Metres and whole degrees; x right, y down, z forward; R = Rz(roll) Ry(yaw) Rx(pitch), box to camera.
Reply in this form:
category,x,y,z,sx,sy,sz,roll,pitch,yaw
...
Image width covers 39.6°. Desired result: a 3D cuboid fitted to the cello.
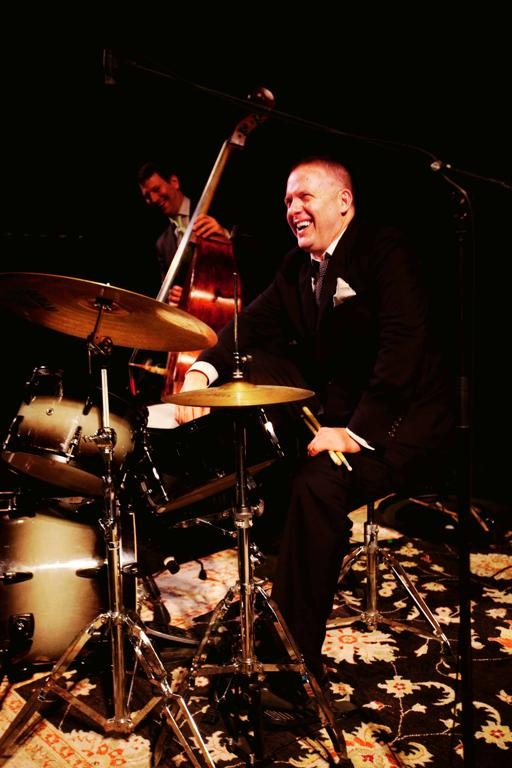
category,x,y,z,sx,sy,sz,roll,pitch,yaw
cello,-0.294,-0.619,2.918,0.515,1.215,0.183,25,19,-9

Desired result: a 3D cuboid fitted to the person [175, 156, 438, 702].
category,x,y,z,sx,sy,sz,roll,pitch,yaw
person,0.109,0.110,2.535,1.025,1.783,0.961,4,16,0

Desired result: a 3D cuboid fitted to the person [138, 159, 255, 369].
category,x,y,z,sx,sy,sz,roll,pitch,yaw
person,-0.225,-0.516,3.032,0.235,0.832,0.354,15,-20,-14

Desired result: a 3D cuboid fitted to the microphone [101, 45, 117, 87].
category,x,y,z,sx,sy,sz,roll,pitch,yaw
microphone,-0.559,-1.309,2.933,0.043,0.131,0.137,-2,13,-10

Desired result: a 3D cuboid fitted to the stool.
category,x,y,z,sx,sy,sz,roll,pitch,yaw
stool,0.436,0.660,2.522,0.558,0.686,0.450,0,27,8

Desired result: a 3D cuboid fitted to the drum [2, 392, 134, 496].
category,x,y,z,sx,sy,sz,roll,pitch,yaw
drum,-0.583,0.164,2.282,0.431,0.295,0.366,-7,15,-28

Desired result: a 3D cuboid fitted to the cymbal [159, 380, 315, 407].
category,x,y,z,sx,sy,sz,roll,pitch,yaw
cymbal,-0.047,0.028,1.864,0.398,0.087,0.221,4,-9,-1
